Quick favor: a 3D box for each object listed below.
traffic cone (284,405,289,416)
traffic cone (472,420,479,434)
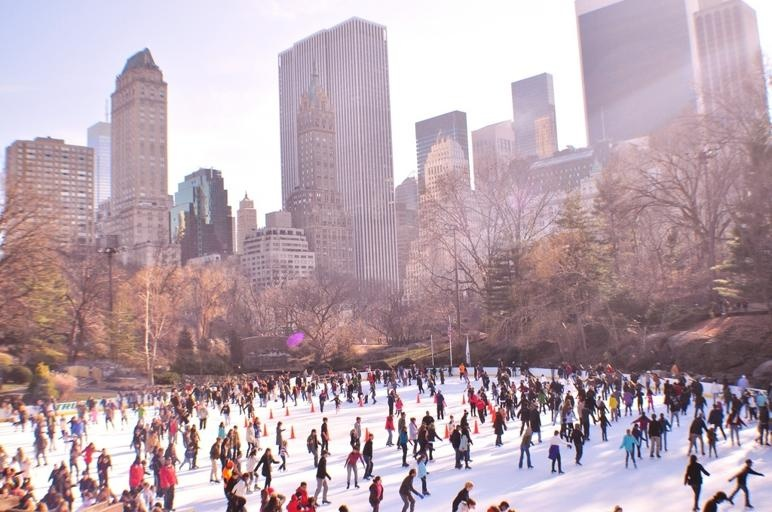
[{"bbox_3d":[-7.907,12.266,54.818,0.548,0.736,0.524,-2,-2,1],"label":"traffic cone"},{"bbox_3d":[5.985,11.464,46.385,0.554,0.639,0.572,-2,-10,2],"label":"traffic cone"}]
